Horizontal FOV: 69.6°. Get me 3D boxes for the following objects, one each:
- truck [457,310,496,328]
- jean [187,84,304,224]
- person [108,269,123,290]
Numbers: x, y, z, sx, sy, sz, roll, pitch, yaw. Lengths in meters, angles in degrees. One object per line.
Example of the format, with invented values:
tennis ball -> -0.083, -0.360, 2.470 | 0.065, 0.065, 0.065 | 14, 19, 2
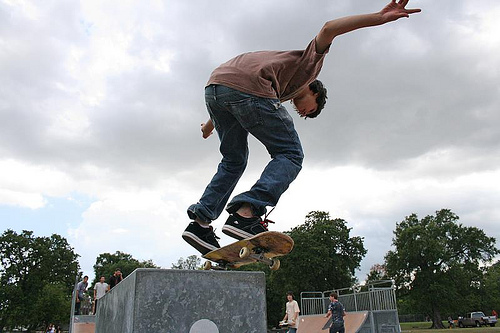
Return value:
truck -> 27.637, 18.684, 44.627 | 2.718, 1.983, 4.844 | 12, -15, -34
jean -> -0.045, -0.173, 4.503 | 1.327, 1.494, 0.991 | -5, -26, 13
person -> -4.288, 3.508, 11.470 | 0.321, 0.595, 1.005 | 10, -27, -19
